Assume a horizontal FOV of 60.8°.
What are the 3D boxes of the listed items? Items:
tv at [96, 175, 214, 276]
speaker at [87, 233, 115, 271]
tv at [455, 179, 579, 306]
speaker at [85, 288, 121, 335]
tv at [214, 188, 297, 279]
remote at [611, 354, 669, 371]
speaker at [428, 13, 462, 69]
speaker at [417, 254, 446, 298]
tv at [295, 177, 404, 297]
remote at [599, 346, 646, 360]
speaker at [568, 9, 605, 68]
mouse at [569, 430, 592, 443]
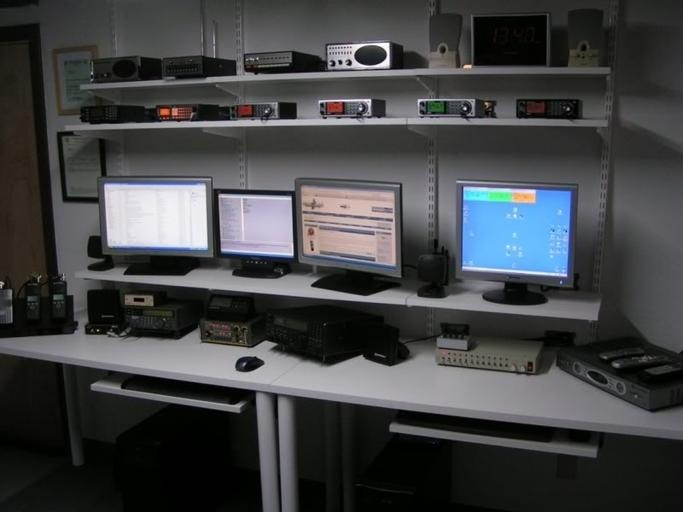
[{"bbox_3d":[-1.032,-0.179,3.342,0.639,0.520,0.274,1,7,-2],"label":"tv"},{"bbox_3d":[-1.430,-0.023,3.478,0.138,0.210,0.168,-2,-5,-1],"label":"speaker"},{"bbox_3d":[0.832,-0.072,2.748,0.571,0.599,0.223,2,6,22],"label":"tv"},{"bbox_3d":[-1.386,0.314,3.301,0.252,0.262,0.252,1,-11,-20],"label":"speaker"},{"bbox_3d":[-0.462,-0.137,3.180,0.470,0.454,0.159,2,6,14],"label":"tv"},{"bbox_3d":[1.288,0.451,2.525,0.260,0.052,0.085,-7,18,-3],"label":"remote"},{"bbox_3d":[0.490,-1.031,2.804,0.161,0.236,0.089,-1,30,3],"label":"speaker"},{"bbox_3d":[0.458,0.079,2.895,0.137,0.216,0.159,0,14,14],"label":"speaker"},{"bbox_3d":[0.056,-0.116,3.009,0.603,0.534,0.292,6,12,28],"label":"tv"},{"bbox_3d":[1.238,0.430,2.571,0.142,0.018,0.051,-8,17,-25],"label":"remote"},{"bbox_3d":[1.112,-0.987,2.654,0.147,0.257,0.133,2,10,19],"label":"speaker"},{"bbox_3d":[1.010,0.760,2.459,0.092,0.058,0.050,-1,-5,11],"label":"mouse"}]
